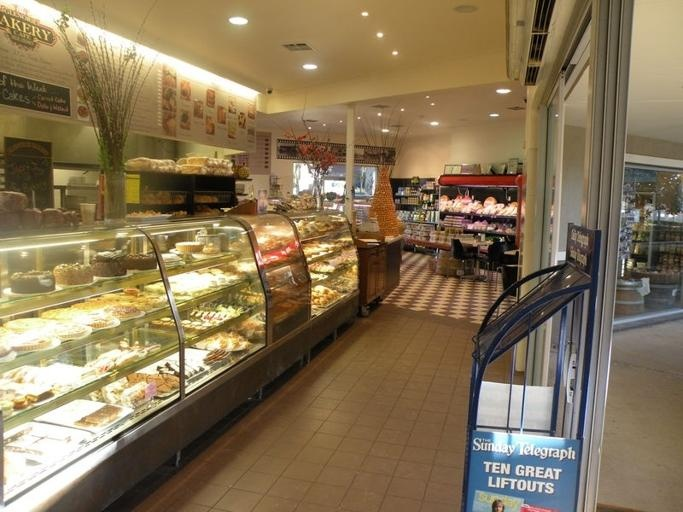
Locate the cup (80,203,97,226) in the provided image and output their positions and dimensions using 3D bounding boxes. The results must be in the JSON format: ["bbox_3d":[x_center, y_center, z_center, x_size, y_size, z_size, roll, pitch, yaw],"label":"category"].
[{"bbox_3d":[-1.717,-0.297,3.144,0.132,0.136,0.135,0,2,0],"label":"cup"}]

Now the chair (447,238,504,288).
[{"bbox_3d":[3.157,0.149,10.725,1.203,0.745,1.175,1,7,14],"label":"chair"}]
